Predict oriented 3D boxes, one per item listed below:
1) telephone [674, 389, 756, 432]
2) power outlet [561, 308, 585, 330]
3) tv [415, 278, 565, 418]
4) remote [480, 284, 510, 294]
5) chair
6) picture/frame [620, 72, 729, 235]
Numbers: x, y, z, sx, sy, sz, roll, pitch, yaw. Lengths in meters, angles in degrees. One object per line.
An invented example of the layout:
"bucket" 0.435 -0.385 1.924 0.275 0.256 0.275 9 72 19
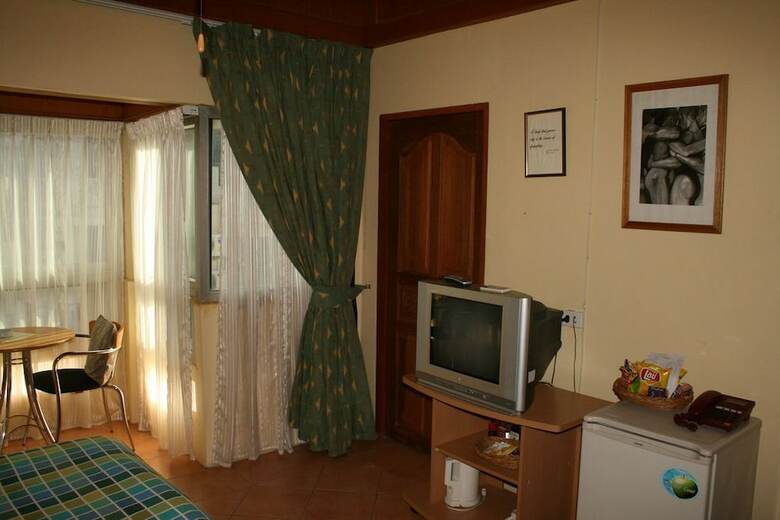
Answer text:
"telephone" 1.939 0.829 3.456 0.347 0.125 0.248 -7 8 -33
"power outlet" 1.292 0.415 4.137 0.108 0.151 0.195 2 -2 -44
"tv" 0.729 0.479 4.132 0.755 0.934 1.009 -5 9 -38
"remote" 0.689 0.194 3.865 0.198 0.018 0.099 5 15 17
"chair" -2.822 1.097 5.455 0.996 1.538 1.090 2 -1 -37
"picture/frame" 1.818 -0.672 3.775 0.596 1.087 0.037 5 38 29
